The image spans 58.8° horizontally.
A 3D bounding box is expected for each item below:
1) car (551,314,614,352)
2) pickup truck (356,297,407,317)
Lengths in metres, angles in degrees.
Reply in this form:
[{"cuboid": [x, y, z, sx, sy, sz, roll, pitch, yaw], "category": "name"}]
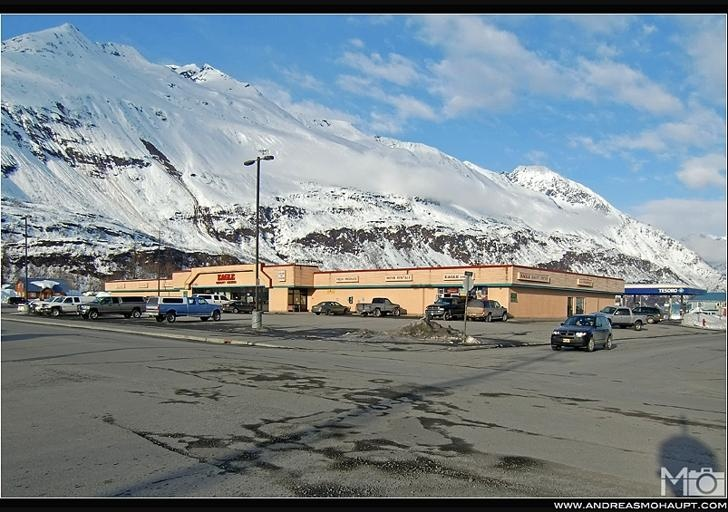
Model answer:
[{"cuboid": [9.844, 3.488, 29.363, 1.515, 1.629, 3.395, 1, -2, 40], "category": "car"}, {"cuboid": [1.427, 5.211, 64.328, 3.690, 1.357, 2.087, -2, -1, 4], "category": "pickup truck"}]
